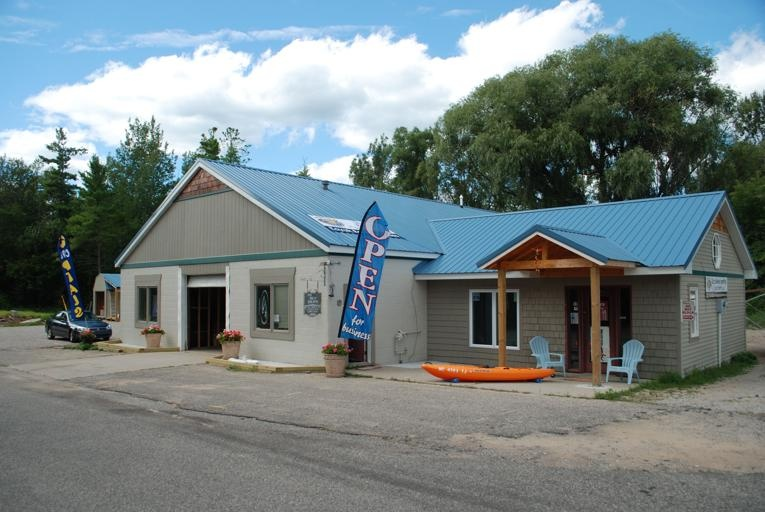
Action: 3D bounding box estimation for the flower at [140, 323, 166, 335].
[{"bbox_3d":[-9.348,2.948,27.220,0.818,0.472,1.152,7,-9,-39],"label":"flower"}]

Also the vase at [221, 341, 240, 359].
[{"bbox_3d":[-5.247,3.267,23.343,0.604,0.620,0.359,7,-9,-44],"label":"vase"}]

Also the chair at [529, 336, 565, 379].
[{"bbox_3d":[5.339,3.126,21.206,1.016,1.519,1.167,0,-7,-21],"label":"chair"}]

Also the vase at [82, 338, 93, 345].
[{"bbox_3d":[-12.509,3.618,28.543,0.306,0.212,0.299,2,-6,-17],"label":"vase"}]

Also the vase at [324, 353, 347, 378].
[{"bbox_3d":[-1.431,3.375,20.728,0.676,0.527,0.686,0,-6,1],"label":"vase"}]

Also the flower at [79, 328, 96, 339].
[{"bbox_3d":[-12.666,3.347,28.923,0.654,0.567,0.662,-1,-1,38],"label":"flower"}]

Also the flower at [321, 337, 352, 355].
[{"bbox_3d":[-1.369,2.850,20.894,0.613,0.446,0.622,1,-2,7],"label":"flower"}]

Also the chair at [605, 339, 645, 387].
[{"bbox_3d":[7.311,3.116,19.760,1.250,1.732,1.258,5,-6,-44],"label":"chair"}]

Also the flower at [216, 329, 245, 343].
[{"bbox_3d":[-5.268,2.822,23.503,0.863,0.482,0.666,6,-8,-33],"label":"flower"}]

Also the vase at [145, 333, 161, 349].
[{"bbox_3d":[-9.193,3.405,26.927,0.602,0.466,0.578,3,-6,-20],"label":"vase"}]
